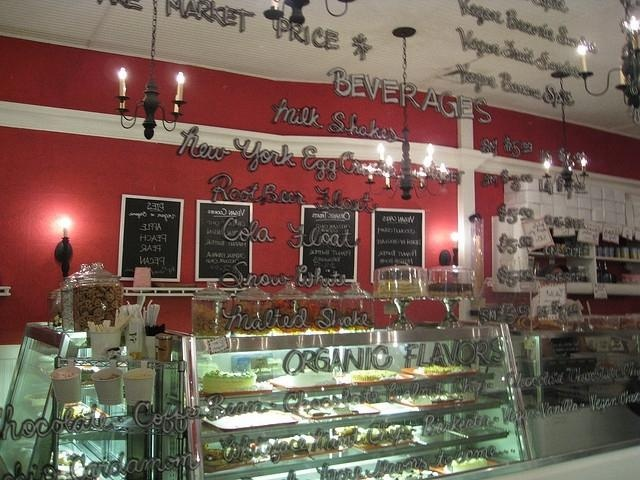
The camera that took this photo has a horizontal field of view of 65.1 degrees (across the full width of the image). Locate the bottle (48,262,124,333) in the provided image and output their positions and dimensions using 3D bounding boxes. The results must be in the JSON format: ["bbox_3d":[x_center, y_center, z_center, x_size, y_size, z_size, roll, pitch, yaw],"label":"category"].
[{"bbox_3d":[-1.330,0.317,2.917,0.393,0.437,0.414,4,-4,-26],"label":"bottle"}]

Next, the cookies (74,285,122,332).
[{"bbox_3d":[-1.220,0.354,2.731,0.228,0.242,0.238,-1,1,19],"label":"cookies"}]

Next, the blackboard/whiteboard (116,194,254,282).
[{"bbox_3d":[-1.148,-0.011,4.148,0.707,1.038,0.042,3,-4,-26],"label":"blackboard/whiteboard"}]
